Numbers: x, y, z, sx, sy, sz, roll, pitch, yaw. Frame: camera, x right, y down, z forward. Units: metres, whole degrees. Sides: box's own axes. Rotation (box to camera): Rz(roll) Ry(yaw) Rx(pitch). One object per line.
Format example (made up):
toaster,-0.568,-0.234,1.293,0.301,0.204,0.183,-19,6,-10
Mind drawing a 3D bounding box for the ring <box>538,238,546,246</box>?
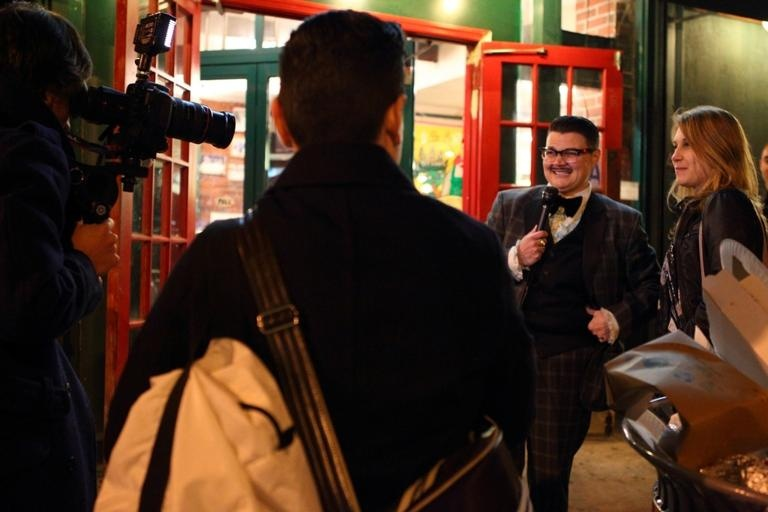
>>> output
ring,0.700,-0.058,3.116,0.035,0.030,0.036,-8,0,0
